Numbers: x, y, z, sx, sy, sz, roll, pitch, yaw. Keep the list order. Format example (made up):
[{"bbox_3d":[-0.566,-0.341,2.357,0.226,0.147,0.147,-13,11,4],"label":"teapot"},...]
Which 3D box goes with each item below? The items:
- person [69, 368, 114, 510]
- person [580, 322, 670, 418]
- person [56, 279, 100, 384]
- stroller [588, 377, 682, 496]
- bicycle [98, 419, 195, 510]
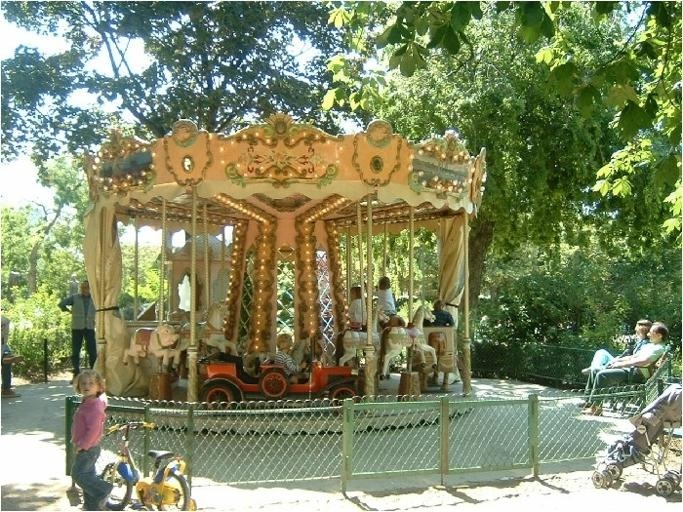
[{"bbox_3d":[-3.233,2.361,10.477,0.657,1.692,0.601,5,4,-33],"label":"person"},{"bbox_3d":[5.416,2.139,15.629,1.304,1.952,0.656,12,3,24],"label":"person"},{"bbox_3d":[-5.907,1.507,18.285,0.894,3.182,0.902,5,5,44],"label":"person"},{"bbox_3d":[4.630,2.680,12.022,1.933,1.527,1.066,7,-8,-44],"label":"stroller"},{"bbox_3d":[-2.510,2.908,10.545,0.962,1.342,1.209,4,1,-33],"label":"bicycle"}]
